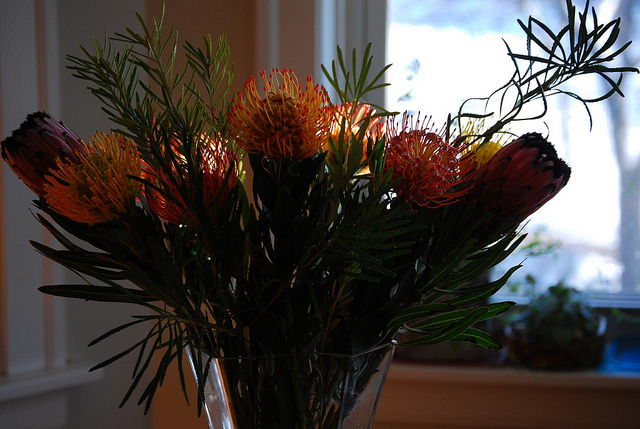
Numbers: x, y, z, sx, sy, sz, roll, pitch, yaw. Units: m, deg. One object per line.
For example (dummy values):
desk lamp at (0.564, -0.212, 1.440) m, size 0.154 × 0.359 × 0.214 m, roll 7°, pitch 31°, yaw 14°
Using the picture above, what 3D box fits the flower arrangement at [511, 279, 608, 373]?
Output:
flower arrangement at (0.579, 0.256, 1.524) m, size 0.201 × 0.206 × 0.213 m, roll -12°, pitch 5°, yaw -14°
